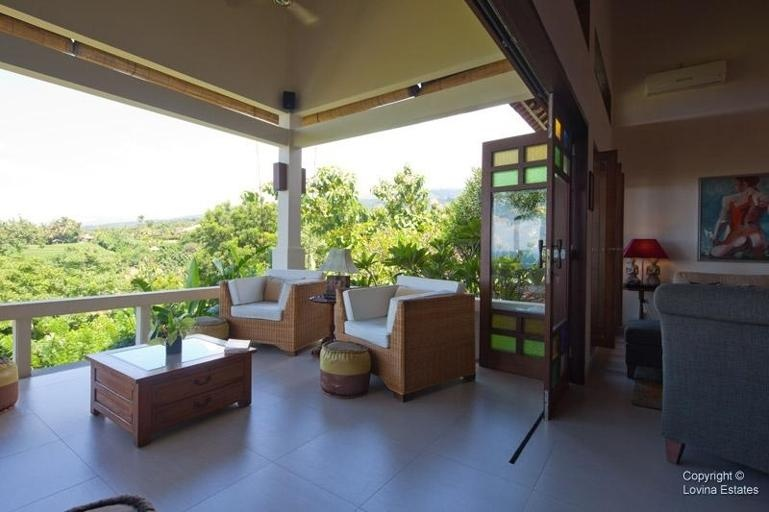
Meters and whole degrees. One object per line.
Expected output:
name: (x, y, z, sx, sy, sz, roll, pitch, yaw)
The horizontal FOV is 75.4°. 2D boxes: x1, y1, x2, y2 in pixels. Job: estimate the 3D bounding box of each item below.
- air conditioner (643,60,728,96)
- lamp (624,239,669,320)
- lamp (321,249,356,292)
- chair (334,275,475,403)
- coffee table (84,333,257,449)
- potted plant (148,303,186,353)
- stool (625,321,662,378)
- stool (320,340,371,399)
air conditioner: (4.415, -2.620, 7.335, 0.969, 0.337, 0.205, 3, 4, 29)
lamp: (3.944, 0.334, 7.537, 0.595, 1.221, 0.823, 3, 4, 30)
lamp: (-0.676, 0.173, 6.699, 0.528, 0.564, 0.512, -3, 4, -29)
chair: (0.285, 0.914, 6.046, 1.268, 1.266, 1.042, -1, 4, -33)
coffee table: (-2.352, 1.199, 5.190, 1.116, 0.555, 1.155, 1, 3, 39)
potted plant: (-2.599, 0.861, 5.926, 0.478, 0.488, 0.488, 1, -5, 20)
stool: (3.046, 0.985, 6.016, 0.537, 0.645, 0.945, -1, -3, 30)
stool: (-0.443, 1.281, 5.707, 0.532, 0.463, 0.540, 1, -1, 24)
